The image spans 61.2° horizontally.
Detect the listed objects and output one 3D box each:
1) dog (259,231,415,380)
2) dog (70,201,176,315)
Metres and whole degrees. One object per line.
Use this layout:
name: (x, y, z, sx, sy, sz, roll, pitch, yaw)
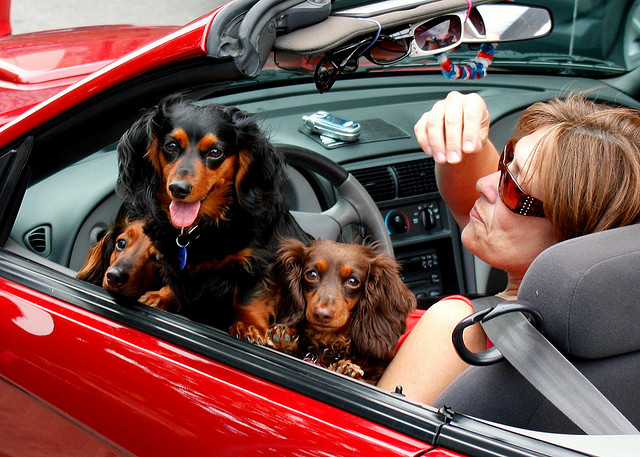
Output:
dog: (0.062, 0.202, 1.521, 0.398, 0.284, 0.388, 10, -45, 13)
dog: (-0.617, 0.106, 1.749, 0.301, 0.379, 0.167, -13, -15, 23)
